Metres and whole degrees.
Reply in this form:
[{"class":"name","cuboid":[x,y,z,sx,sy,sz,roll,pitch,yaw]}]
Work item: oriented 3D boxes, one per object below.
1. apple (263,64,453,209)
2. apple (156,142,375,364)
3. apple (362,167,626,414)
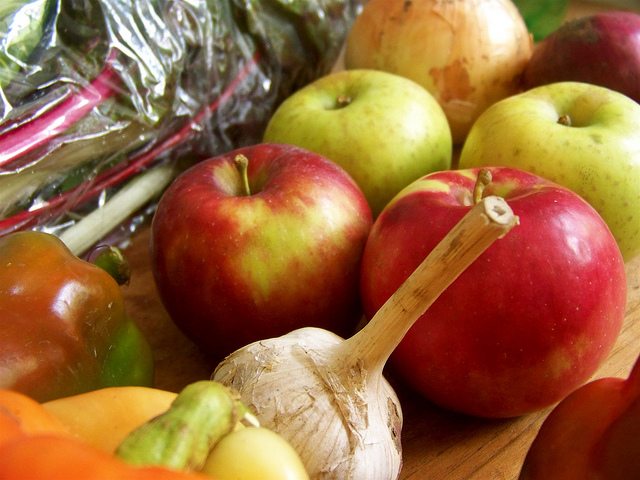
[{"class":"apple","cuboid":[0.057,-0.193,1.059,0.219,0.263,0.231,-20,22,-16]},{"class":"apple","cuboid":[-0.084,0.006,0.917,0.249,0.304,0.249,-26,34,-19]},{"class":"apple","cuboid":[0.201,0.054,0.824,0.244,0.299,0.281,-11,21,-2]}]
